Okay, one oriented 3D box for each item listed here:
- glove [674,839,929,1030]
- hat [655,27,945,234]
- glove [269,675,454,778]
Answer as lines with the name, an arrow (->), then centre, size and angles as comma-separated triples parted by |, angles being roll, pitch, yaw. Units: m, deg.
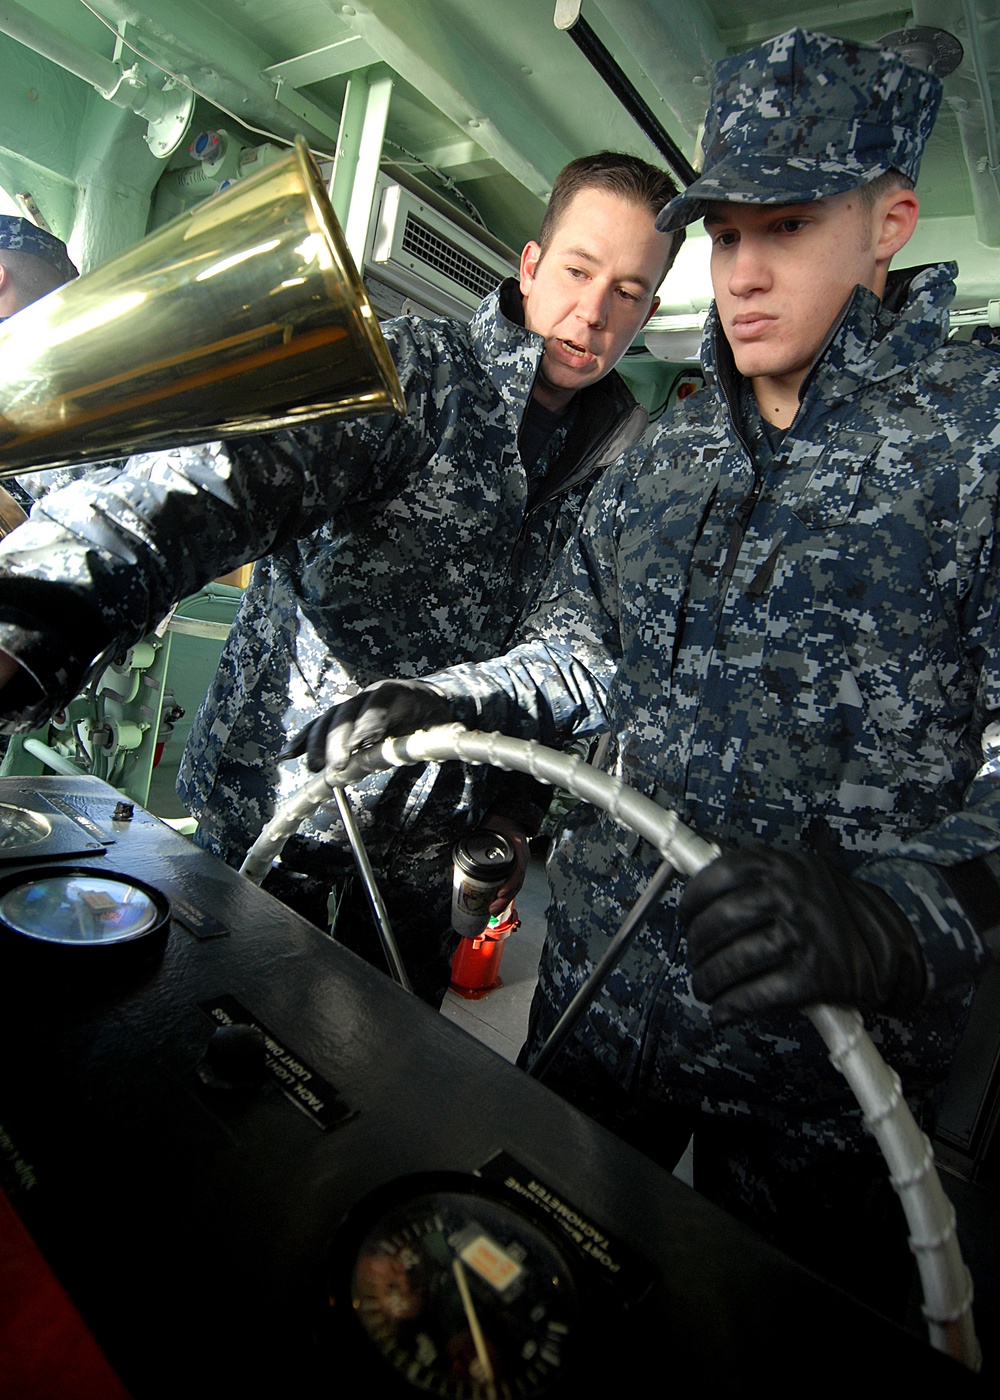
glove -> 0.212, 0.166, 0.669 | 0.143, 0.124, 0.124 | -10, 21, -43
hat -> 0.347, -0.604, 1.074 | 0.327, 0.150, 0.231 | -22, 29, -18
glove -> -0.155, 0.015, 1.029 | 0.222, 0.111, 0.103 | -10, 4, -33
